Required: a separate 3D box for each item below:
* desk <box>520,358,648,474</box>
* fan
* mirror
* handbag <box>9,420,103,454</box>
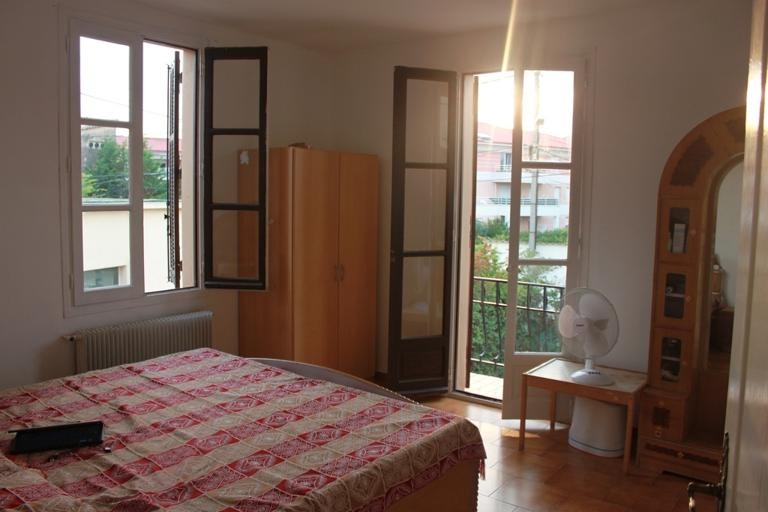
[{"bbox_3d":[1.651,1.055,4.933,1.062,0.768,0.753,5,6,34],"label":"desk"},{"bbox_3d":[1.623,0.632,4.798,0.446,0.745,0.252,2,6,25],"label":"fan"},{"bbox_3d":[2.584,-0.071,4.563,0.196,1.362,0.139,3,7,27],"label":"mirror"},{"bbox_3d":[-1.822,1.003,3.313,0.245,0.057,0.232,-1,0,-17],"label":"handbag"}]
